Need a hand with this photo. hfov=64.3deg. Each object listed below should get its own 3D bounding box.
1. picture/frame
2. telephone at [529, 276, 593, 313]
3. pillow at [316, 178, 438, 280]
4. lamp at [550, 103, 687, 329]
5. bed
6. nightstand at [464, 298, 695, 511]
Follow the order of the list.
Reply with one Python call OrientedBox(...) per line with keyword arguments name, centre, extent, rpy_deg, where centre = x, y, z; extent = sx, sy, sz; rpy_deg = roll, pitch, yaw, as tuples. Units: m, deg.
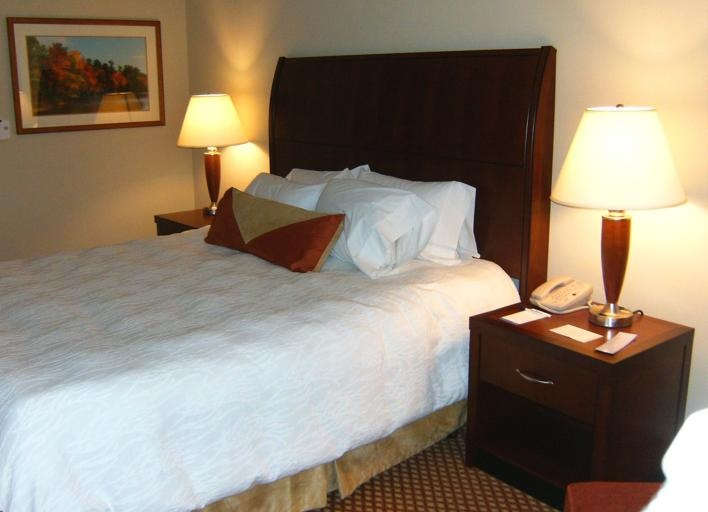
OrientedBox(name="picture/frame", centre=(-2.248, -1.493, 4.604), extent=(0.966, 0.783, 0.037), rpy_deg=(-11, 18, -33))
OrientedBox(name="telephone", centre=(1.049, 0.191, 2.869), extent=(0.258, 0.112, 0.305), rpy_deg=(-16, 11, -20))
OrientedBox(name="pillow", centre=(0.066, -0.185, 3.190), extent=(0.689, 0.413, 0.428), rpy_deg=(14, 22, 38))
OrientedBox(name="lamp", centre=(1.165, -0.162, 2.527), extent=(0.476, 0.983, 0.356), rpy_deg=(-7, 17, -20))
OrientedBox(name="bed", centre=(-0.329, 0.054, 2.950), extent=(0.904, 1.918, 2.301), rpy_deg=(-12, 18, -39))
OrientedBox(name="nightstand", centre=(1.015, 0.538, 2.873), extent=(0.848, 1.088, 0.949), rpy_deg=(-7, 14, -36))
